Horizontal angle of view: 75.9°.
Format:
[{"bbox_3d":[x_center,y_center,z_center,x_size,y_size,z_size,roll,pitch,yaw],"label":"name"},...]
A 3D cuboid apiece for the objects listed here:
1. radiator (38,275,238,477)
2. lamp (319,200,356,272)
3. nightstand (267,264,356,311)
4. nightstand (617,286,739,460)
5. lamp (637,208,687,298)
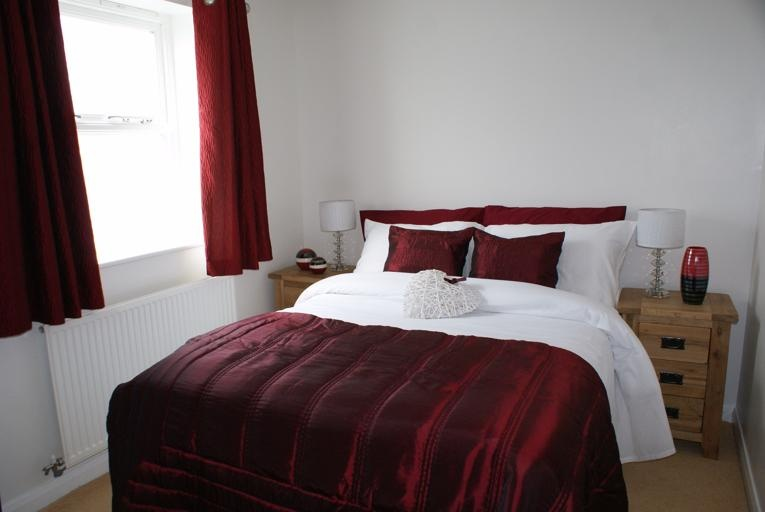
[{"bbox_3d":[-1.412,0.688,2.713,0.082,0.716,1.196,4,12,32],"label":"radiator"},{"bbox_3d":[-0.371,-0.192,4.187,0.313,0.584,0.383,-1,14,-3],"label":"lamp"},{"bbox_3d":[-0.615,0.192,4.160,0.543,0.507,0.423,7,15,31],"label":"nightstand"},{"bbox_3d":[1.936,0.733,3.350,0.688,0.907,0.655,7,17,39],"label":"nightstand"},{"bbox_3d":[1.890,-0.041,3.313,0.377,0.540,0.386,6,14,43],"label":"lamp"}]
